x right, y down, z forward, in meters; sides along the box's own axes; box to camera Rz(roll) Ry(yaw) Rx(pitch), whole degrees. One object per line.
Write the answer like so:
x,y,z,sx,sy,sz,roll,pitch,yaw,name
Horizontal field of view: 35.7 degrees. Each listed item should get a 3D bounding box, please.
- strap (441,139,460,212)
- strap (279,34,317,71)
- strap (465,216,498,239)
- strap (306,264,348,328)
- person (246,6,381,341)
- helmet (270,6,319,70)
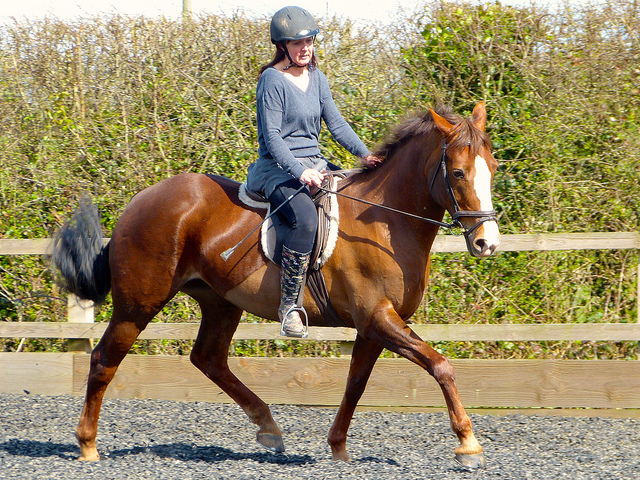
1.025,-0.485,7.819,0.088,0.507,0.067,-11,7,-37,strap
-0.204,-1.561,8.254,0.396,0.299,0.095,4,3,2,strap
1.243,-0.103,7.735,0.236,0.177,0.111,2,9,3,strap
0.125,0.462,8.296,0.141,0.454,0.371,-25,11,-11,strap
-0.061,-0.564,8.325,0.933,2.736,0.724,-2,10,-18,person
-0.218,-1.679,8.285,0.400,0.515,0.215,2,9,6,helmet
